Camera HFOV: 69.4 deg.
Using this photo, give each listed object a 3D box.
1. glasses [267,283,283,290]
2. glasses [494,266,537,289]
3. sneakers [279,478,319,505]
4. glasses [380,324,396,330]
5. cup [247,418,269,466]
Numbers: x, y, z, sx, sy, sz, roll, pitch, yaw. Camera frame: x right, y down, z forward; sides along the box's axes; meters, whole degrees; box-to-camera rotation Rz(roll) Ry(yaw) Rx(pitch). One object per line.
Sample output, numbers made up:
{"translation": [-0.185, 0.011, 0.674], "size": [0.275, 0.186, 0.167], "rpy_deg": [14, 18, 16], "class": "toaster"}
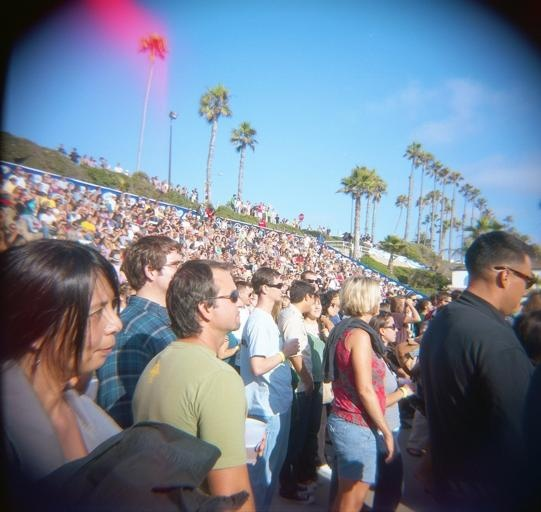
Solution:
{"translation": [0.054, 0.271, 3.546], "size": [0.061, 0.048, 0.214], "rpy_deg": [11, 5, 33], "class": "glasses"}
{"translation": [1.315, 0.109, 2.068], "size": [0.127, 0.043, 0.133], "rpy_deg": [30, -8, 19], "class": "glasses"}
{"translation": [0.265, 2.222, 3.615], "size": [0.215, 0.091, 0.180], "rpy_deg": [-1, 4, 2], "class": "sneakers"}
{"translation": [1.249, 0.755, 4.103], "size": [0.059, 0.031, 0.197], "rpy_deg": [12, 5, 39], "class": "glasses"}
{"translation": [-0.122, 1.335, 2.746], "size": [0.192, 0.292, 0.251], "rpy_deg": [3, -11, -7], "class": "cup"}
